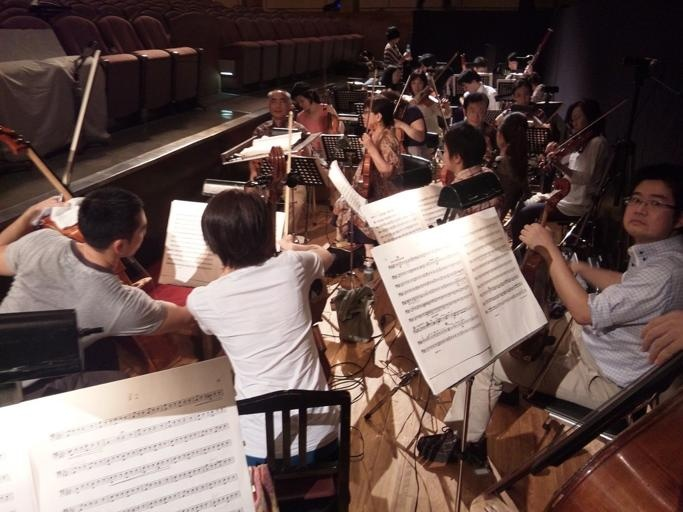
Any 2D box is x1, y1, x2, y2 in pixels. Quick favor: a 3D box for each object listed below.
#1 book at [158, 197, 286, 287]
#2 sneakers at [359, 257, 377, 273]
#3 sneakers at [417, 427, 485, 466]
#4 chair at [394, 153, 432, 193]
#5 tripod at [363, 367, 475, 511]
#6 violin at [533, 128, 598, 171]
[{"bbox_3d":[-0.954,-0.123,3.252,0.780,0.543,0.180,8,8,0],"label":"book"},{"bbox_3d":[0.236,0.089,4.466,0.123,0.143,0.123,-11,39,-5],"label":"sneakers"},{"bbox_3d":[0.624,1.093,2.967,0.470,0.214,0.189,5,31,6],"label":"sneakers"},{"bbox_3d":[0.660,-0.768,4.574,0.435,0.328,0.156,0,-2,-12],"label":"chair"},{"bbox_3d":[0.453,1.082,2.873,0.401,0.745,0.466,16,35,3],"label":"tripod"},{"bbox_3d":[2.008,-0.958,4.503,0.575,0.145,0.299,-35,7,-2],"label":"violin"}]
